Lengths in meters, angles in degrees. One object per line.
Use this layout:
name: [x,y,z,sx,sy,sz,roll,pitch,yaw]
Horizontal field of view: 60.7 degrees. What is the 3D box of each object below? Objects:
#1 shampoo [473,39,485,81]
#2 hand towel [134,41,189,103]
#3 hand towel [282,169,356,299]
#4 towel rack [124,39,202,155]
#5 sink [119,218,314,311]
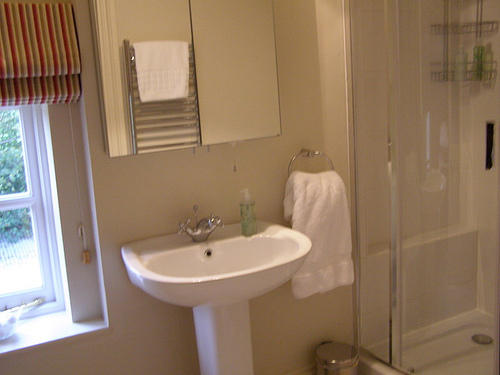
shampoo: [0.954,-0.526,1.779,0.043,0.163,0.039,9,48,37]
hand towel: [-0.371,-0.508,1.851,0.239,0.253,0.061,-11,14,-13]
hand towel: [0.357,0.219,2.171,0.378,0.648,0.143,-7,13,-23]
towel rack: [-0.375,-0.357,1.835,0.304,0.463,0.062,-9,38,-19]
sink: [-0.138,0.318,1.841,0.761,0.208,0.562,-14,16,-21]
